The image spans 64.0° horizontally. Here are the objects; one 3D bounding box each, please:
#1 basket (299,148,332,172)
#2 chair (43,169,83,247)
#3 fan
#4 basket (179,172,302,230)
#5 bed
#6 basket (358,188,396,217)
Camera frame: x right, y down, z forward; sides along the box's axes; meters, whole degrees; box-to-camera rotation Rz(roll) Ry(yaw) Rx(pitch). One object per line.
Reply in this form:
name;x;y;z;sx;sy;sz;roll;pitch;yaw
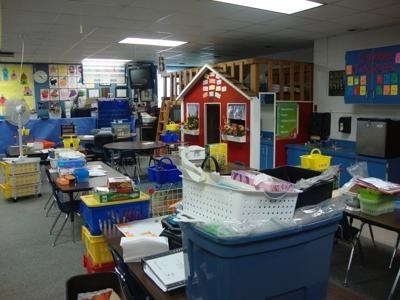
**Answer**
basket;1.827;0.143;5.041;0.441;0.343;0.357;-7;13;-26
chair;-2.104;0.934;4.952;0.376;0.687;0.989;-2;7;-22
fan;-3.860;-0.474;6.888;0.448;1.283;1.192;-6;13;-21
basket;0.144;0.276;1.735;0.294;0.146;0.438;-1;7;-33
bed;0.489;-1.386;9.469;2.513;2.201;5.238;-8;14;-29
basket;1.884;0.536;3.423;0.343;0.243;0.243;-4;6;-33
